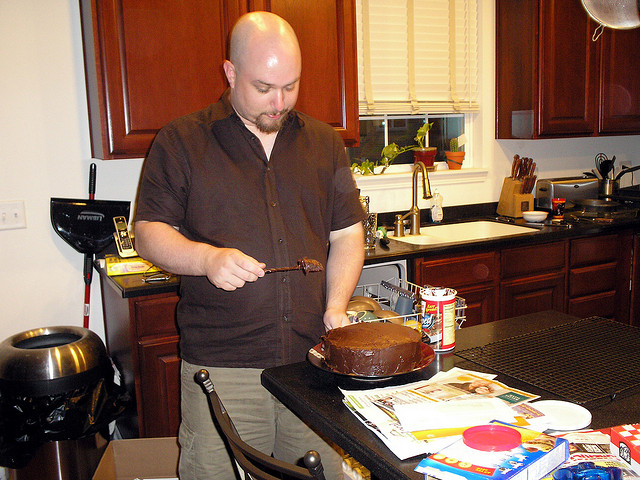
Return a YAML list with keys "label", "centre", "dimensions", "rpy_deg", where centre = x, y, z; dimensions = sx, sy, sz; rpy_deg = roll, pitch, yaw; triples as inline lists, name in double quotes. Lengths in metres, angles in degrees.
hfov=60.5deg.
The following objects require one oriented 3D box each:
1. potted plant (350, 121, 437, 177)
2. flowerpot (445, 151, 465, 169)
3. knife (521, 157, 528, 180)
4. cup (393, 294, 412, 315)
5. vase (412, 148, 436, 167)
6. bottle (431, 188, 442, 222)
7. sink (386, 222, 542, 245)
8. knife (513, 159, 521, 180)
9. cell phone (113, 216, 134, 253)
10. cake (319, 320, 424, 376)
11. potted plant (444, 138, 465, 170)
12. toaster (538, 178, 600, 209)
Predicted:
- label: "potted plant"
  centre: [0.470, -0.551, 3.628]
  dimensions: [0.697, 0.255, 0.214]
  rpy_deg: [-15, 7, -16]
- label: "flowerpot"
  centre: [0.931, -0.561, 3.826]
  dimensions: [0.117, 0.094, 0.117]
  rpy_deg: [0, 3, -3]
- label: "knife"
  centre: [1.394, -0.493, 3.761]
  dimensions: [0.026, 0.125, 0.030]
  rpy_deg: [5, 9, -33]
- label: "cup"
  centre: [0.335, 0.265, 2.253]
  dimensions: [0.078, 0.073, 0.069]
  rpy_deg: [9, -9, 8]
- label: "vase"
  centre: [0.688, -0.563, 3.685]
  dimensions: [0.137, 0.107, 0.137]
  rpy_deg: [0, 2, -2]
- label: "bottle"
  centre: [0.757, -0.220, 3.599]
  dimensions: [0.061, 0.168, 0.112]
  rpy_deg: [1, 15, 12]
- label: "sink"
  centre: [0.845, -0.043, 3.567]
  dimensions: [0.874, 0.147, 0.276]
  rpy_deg: [-4, 15, -9]
- label: "knife"
  centre: [1.348, -0.491, 3.788]
  dimensions: [0.023, 0.146, 0.022]
  rpy_deg: [22, 20, 14]
- label: "cell phone"
  centre: [-0.996, -0.027, 2.777]
  dimensions: [0.046, 0.157, 0.155]
  rpy_deg: [-15, 0, -26]
- label: "cake"
  centre: [0.142, 0.285, 1.613]
  dimensions: [0.280, 0.112, 0.235]
  rpy_deg: [-2, 13, -29]
- label: "potted plant"
  centre: [0.955, -0.613, 3.844]
  dimensions: [0.124, 0.206, 0.187]
  rpy_deg: [8, 18, 33]
- label: "toaster"
  centre: [1.775, -0.341, 3.952]
  dimensions: [0.454, 0.221, 0.153]
  rpy_deg: [-7, 12, -21]
